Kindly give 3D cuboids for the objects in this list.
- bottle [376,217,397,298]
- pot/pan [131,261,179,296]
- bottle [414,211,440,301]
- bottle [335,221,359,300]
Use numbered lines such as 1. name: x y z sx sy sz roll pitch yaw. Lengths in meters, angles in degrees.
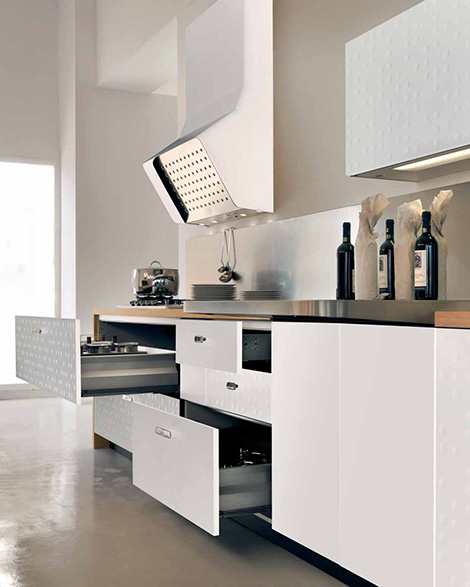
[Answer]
1. bottle: 0.432 -0.099 1.487 0.045 0.230 0.103 -1 -4 16
2. pot/pan: -0.543 -0.085 3.549 0.245 0.235 0.190 2 -5 -29
3. bottle: 0.490 -0.100 1.335 0.055 0.223 0.041 -1 -3 16
4. bottle: 0.359 -0.109 1.691 0.052 0.250 0.137 -1 -4 11
